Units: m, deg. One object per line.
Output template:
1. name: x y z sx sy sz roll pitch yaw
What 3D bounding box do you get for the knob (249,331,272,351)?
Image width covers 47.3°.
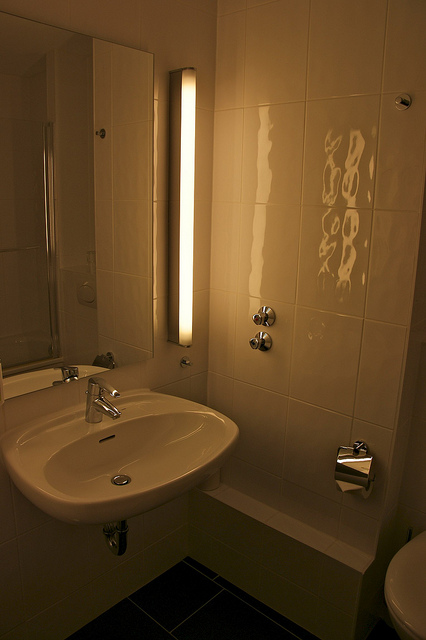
1. knob: 0.173 0.076 1.736 0.058 0.062 0.032 15 14 42

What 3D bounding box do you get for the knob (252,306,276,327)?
1. knob: 0.181 -0.013 1.703 0.056 0.060 0.030 14 14 35

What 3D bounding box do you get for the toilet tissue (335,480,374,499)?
1. toilet tissue: 0.441 0.523 1.510 0.103 0.032 0.079 4 1 9

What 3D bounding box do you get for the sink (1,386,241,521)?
1. sink: -0.238 0.378 1.405 0.462 0.180 0.664 10 13 40
